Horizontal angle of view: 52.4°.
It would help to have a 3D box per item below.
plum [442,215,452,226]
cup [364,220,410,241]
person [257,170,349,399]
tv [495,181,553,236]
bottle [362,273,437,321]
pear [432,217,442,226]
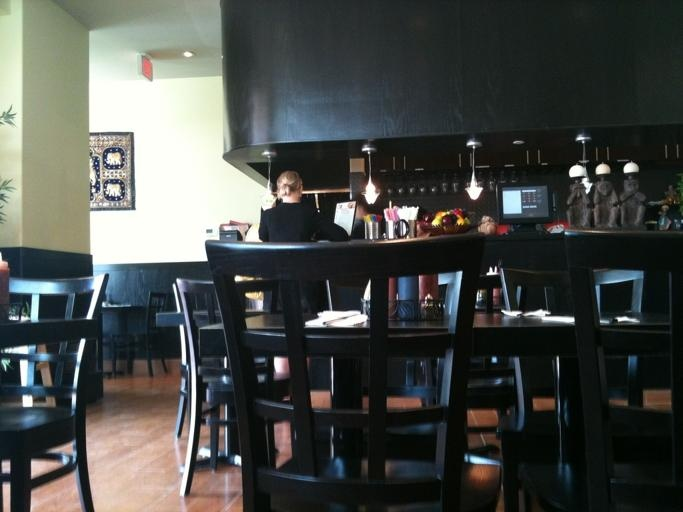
[{"bbox_3d":[0.467,-0.159,3.080,0.036,0.038,0.038,1,-20,3],"label":"plum"},{"bbox_3d":[0.365,-0.219,5.963,0.336,0.131,0.212,0,0,4],"label":"cup"},{"bbox_3d":[-0.251,0.090,5.352,0.645,1.503,0.438,2,30,10],"label":"person"},{"bbox_3d":[1.546,-0.455,5.819,0.446,0.406,0.235,1,22,23],"label":"tv"},{"bbox_3d":[0.247,0.147,2.693,0.200,0.211,0.205,0,-1,42],"label":"bottle"},{"bbox_3d":[0.467,-0.173,3.421,0.044,0.058,0.046,7,13,5],"label":"pear"}]
